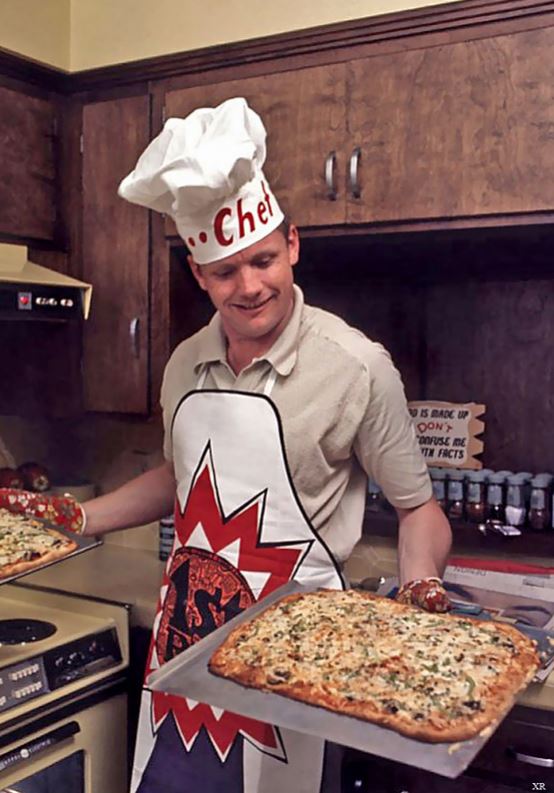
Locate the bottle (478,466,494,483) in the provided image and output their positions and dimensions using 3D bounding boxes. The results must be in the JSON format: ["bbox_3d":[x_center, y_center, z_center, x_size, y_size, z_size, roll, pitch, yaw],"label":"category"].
[{"bbox_3d":[0.518,0.196,1.728,0.036,0.035,0.035,-3,1,-44],"label":"bottle"}]

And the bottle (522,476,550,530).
[{"bbox_3d":[0.627,0.252,1.658,0.054,0.120,0.069,0,7,22],"label":"bottle"}]

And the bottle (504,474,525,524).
[{"bbox_3d":[0.587,0.251,1.700,0.067,0.115,0.046,-7,8,-38],"label":"bottle"}]

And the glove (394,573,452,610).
[{"bbox_3d":[0.215,0.272,0.978,0.055,0.029,0.042,6,10,41],"label":"glove"}]

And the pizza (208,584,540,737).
[{"bbox_3d":[0.120,0.304,0.856,0.379,0.026,0.303,2,8,37],"label":"pizza"}]

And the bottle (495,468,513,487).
[{"bbox_3d":[0.562,0.203,1.715,0.037,0.033,0.044,-2,-1,0],"label":"bottle"}]

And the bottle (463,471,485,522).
[{"bbox_3d":[0.493,0.248,1.728,0.048,0.122,0.044,-2,6,0],"label":"bottle"}]

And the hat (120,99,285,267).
[{"bbox_3d":[-0.094,-0.318,1.171,0.262,0.206,0.260,-36,27,-18],"label":"hat"}]

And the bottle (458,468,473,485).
[{"bbox_3d":[0.475,0.202,1.744,0.030,0.031,0.035,0,-4,1],"label":"bottle"}]
